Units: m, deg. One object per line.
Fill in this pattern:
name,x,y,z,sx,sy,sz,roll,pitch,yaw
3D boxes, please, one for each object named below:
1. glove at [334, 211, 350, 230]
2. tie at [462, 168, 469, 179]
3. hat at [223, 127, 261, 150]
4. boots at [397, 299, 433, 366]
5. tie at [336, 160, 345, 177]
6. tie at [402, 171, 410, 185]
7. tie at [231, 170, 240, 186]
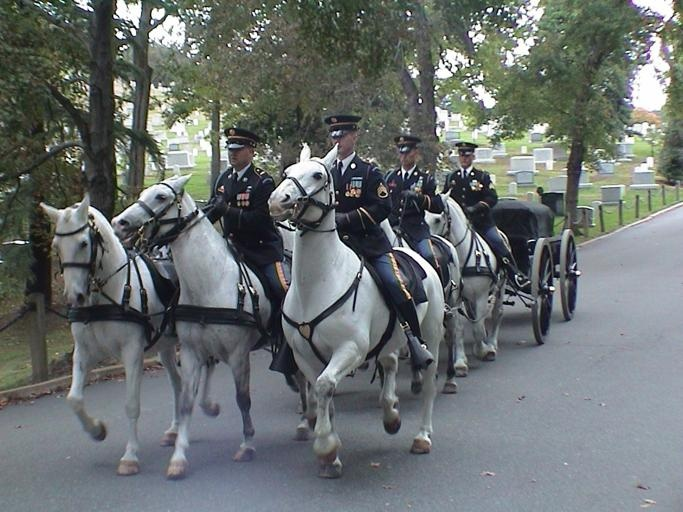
glove,0.019,-0.433,9.954,0.136,0.189,0.067,12,-2,19
tie,2.294,-1.523,14.900,0.113,0.157,0.038,-1,-13,19
hat,-1.327,-1.559,10.867,0.316,0.193,0.373,-1,4,22
boots,0.915,1.001,10.043,0.433,0.857,0.339,-12,0,12
tie,-0.008,-1.135,10.468,0.110,0.152,0.046,-8,-16,41
tie,1.071,-1.301,13.247,0.104,0.150,0.041,-3,-14,28
tie,-1.403,-1.046,10.832,0.096,0.176,0.047,6,-6,-12
